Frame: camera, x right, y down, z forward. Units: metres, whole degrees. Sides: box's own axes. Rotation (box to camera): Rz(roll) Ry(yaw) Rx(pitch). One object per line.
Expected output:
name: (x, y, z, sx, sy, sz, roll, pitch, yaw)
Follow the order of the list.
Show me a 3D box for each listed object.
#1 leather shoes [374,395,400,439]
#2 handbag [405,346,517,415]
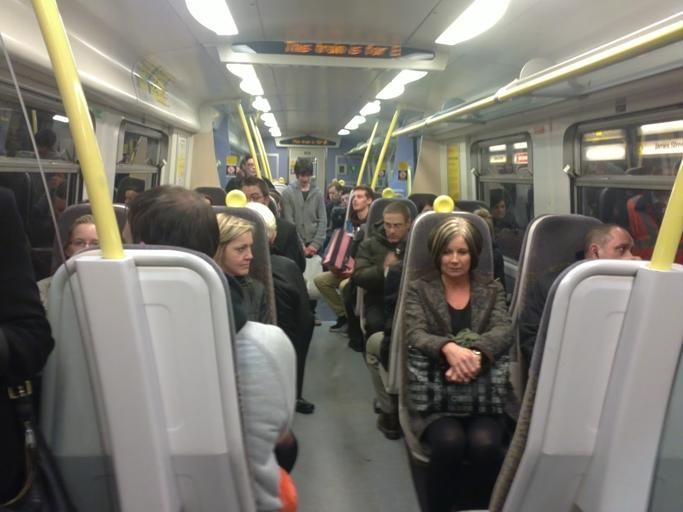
leather shoes: (0.312, 1.093, 3.347, 0.114, 0.211, 0.291, 0, 14, -4)
handbag: (0.518, 0.579, 2.107, 0.462, 0.323, 0.272, 0, 0, 4)
